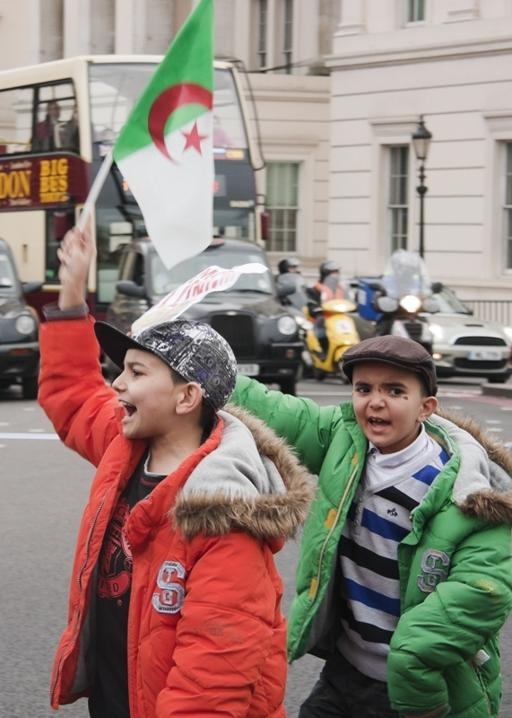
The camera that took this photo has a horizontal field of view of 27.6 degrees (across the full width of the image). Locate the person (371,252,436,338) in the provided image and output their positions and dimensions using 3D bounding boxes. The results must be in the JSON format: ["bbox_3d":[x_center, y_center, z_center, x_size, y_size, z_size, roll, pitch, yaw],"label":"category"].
[{"bbox_3d":[1.836,-0.765,12.970,0.826,1.085,0.545,-3,5,-38],"label":"person"}]

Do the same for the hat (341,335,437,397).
[{"bbox_3d":[0.345,0.020,2.705,0.243,0.159,0.184,1,4,8],"label":"hat"}]
